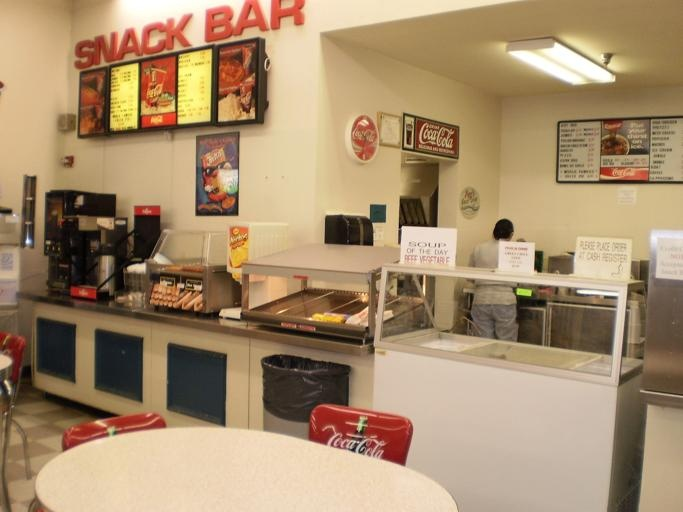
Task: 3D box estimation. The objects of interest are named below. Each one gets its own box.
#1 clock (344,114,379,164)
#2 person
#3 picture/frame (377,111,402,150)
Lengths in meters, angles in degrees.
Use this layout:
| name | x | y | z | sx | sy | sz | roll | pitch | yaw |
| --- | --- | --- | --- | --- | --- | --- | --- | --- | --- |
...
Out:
| name | x | y | z | sx | sy | sz | roll | pitch | yaw |
| --- | --- | --- | --- | --- | --- | --- | --- | --- | --- |
| clock | 0.217 | -1.123 | 5.021 | 0.078 | 0.454 | 0.462 | 7 | 14 | 39 |
| person | 0.913 | 0.236 | 3.133 | 0.283 | 0.903 | 0.275 | 4 | 10 | 16 |
| picture/frame | 0.471 | -1.261 | 5.247 | 0.052 | 0.348 | 0.381 | 7 | 10 | 44 |
